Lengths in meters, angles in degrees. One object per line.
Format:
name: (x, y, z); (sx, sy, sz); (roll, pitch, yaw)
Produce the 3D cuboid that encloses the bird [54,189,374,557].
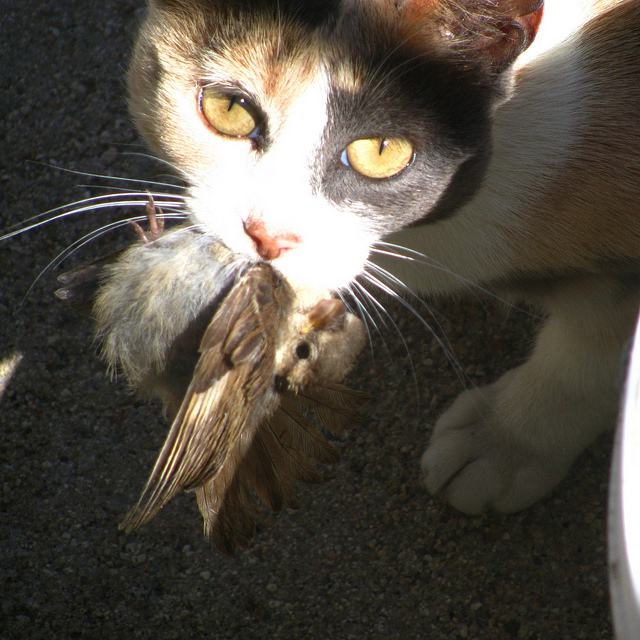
bird: (-0.117, 0.135, 1.327); (0.267, 0.354, 0.461); (-3, -16, 9)
